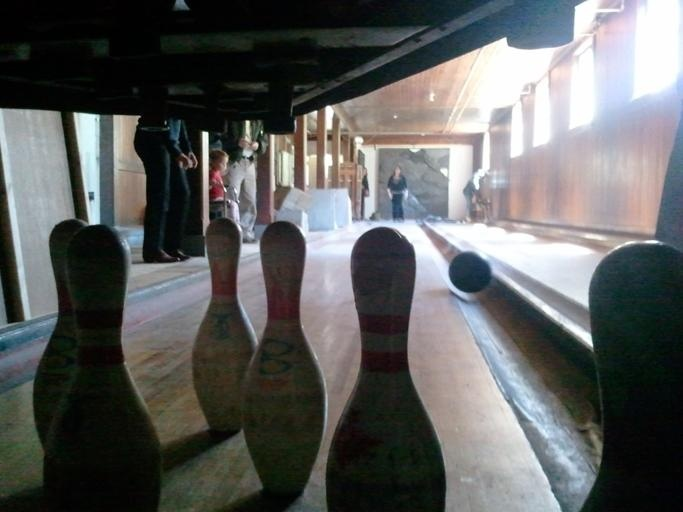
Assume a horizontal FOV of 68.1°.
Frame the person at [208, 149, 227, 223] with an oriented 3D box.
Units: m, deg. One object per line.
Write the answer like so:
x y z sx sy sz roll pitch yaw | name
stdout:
-1.122 -0.653 4.593 0.172 0.649 1.233 -1 8 -12 | person

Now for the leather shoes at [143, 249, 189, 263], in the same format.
-1.219 -0.001 3.516 0.283 0.104 0.081 -5 4 -26 | leather shoes

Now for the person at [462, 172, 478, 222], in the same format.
3.799 -1.689 14.856 0.402 1.361 1.202 3 9 13 | person
